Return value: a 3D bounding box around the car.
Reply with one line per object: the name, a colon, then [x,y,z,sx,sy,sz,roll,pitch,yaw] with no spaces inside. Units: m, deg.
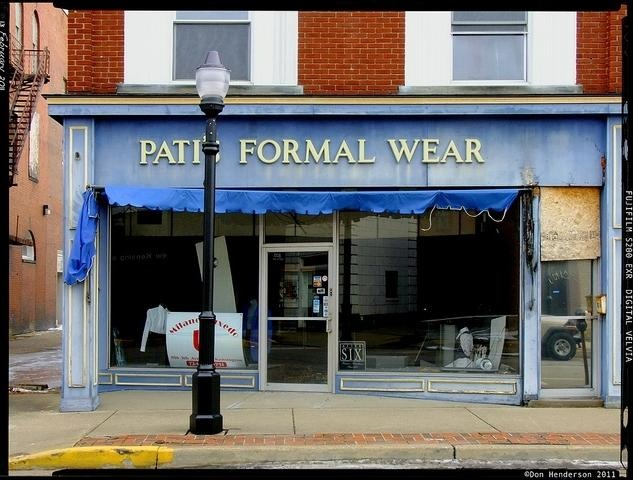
car: [3.889,1.719,18.205,1.537,0.691,0.833,0,-6,3]
